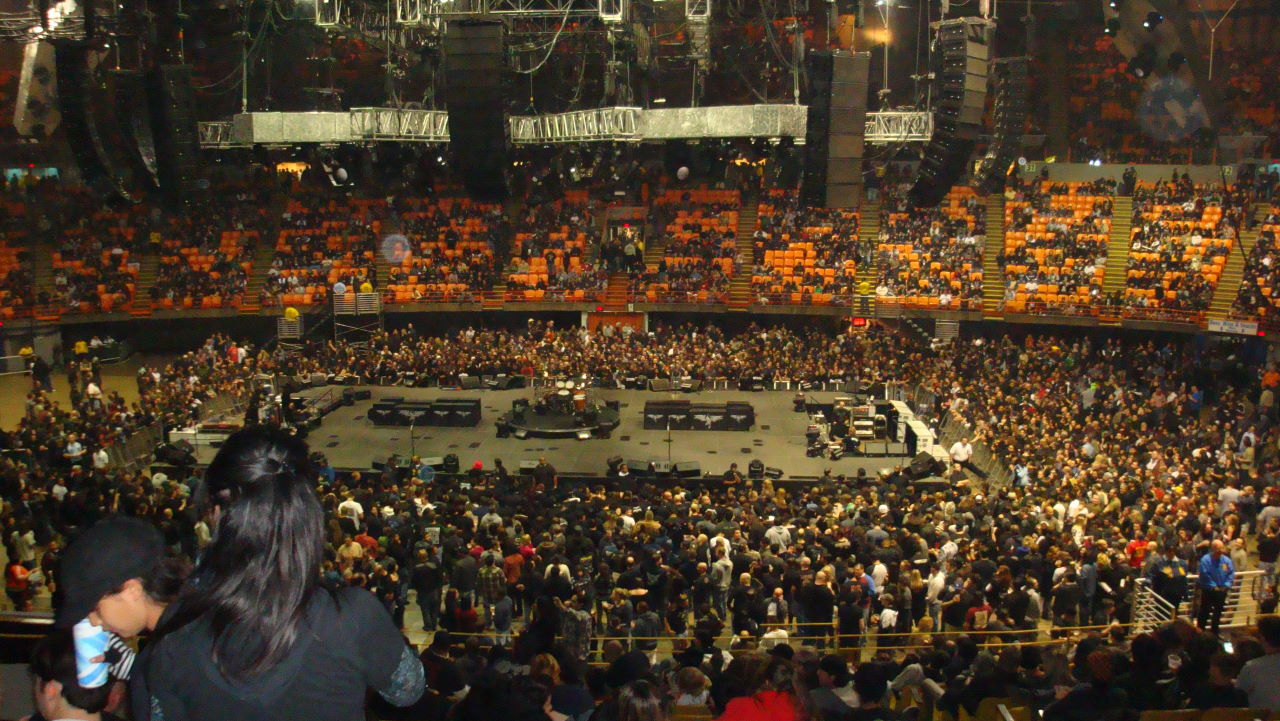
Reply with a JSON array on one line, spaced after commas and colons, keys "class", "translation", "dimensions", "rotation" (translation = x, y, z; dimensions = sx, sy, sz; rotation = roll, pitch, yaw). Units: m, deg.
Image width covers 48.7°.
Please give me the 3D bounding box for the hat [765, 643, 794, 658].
[{"class": "hat", "translation": [4.213, 8.566, 41.765], "dimensions": [0.598, 0.334, 0.956], "rotation": [0, 4, -1]}]
